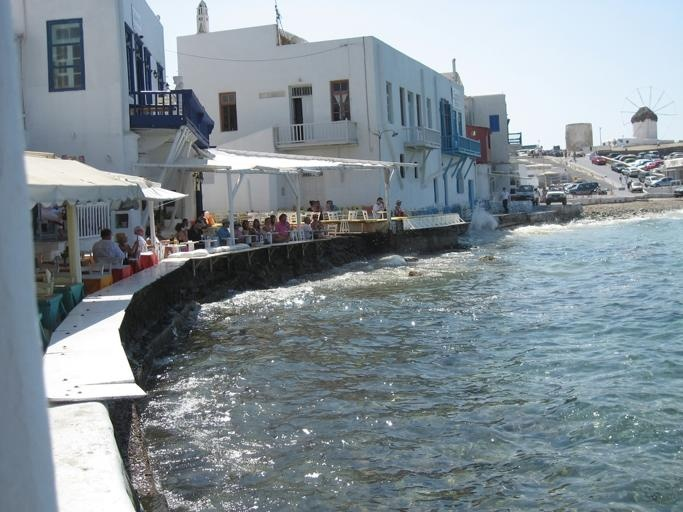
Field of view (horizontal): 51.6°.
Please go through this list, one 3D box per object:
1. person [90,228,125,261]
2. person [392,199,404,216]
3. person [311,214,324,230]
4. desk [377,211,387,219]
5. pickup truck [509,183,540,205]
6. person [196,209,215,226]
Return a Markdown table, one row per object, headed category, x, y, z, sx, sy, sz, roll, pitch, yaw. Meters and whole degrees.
| category | x | y | z | sx | sy | sz | roll | pitch | yaw |
| --- | --- | --- | --- | --- | --- | --- | --- | --- | --- |
| person | -4.493 | -0.155 | 13.579 | 0.619 | 0.792 | 0.433 | 4 | 19 | 1 |
| person | 2.528 | -2.233 | 31.942 | 0.355 | 1.173 | 0.533 | 1 | 29 | 16 |
| person | -0.867 | -1.252 | 25.123 | 0.446 | 0.638 | 1.426 | 4 | 9 | 1 |
| desk | 1.642 | -1.769 | 29.299 | 0.397 | 0.285 | 1.430 | 0 | 6 | 2 |
| pickup truck | 14.777 | -5.097 | 56.859 | 1.746 | 1.295 | 3.662 | 0 | 0 | 18 |
| person | -4.357 | -1.221 | 22.667 | 0.740 | 0.592 | 1.083 | 6 | 0 | -13 |
